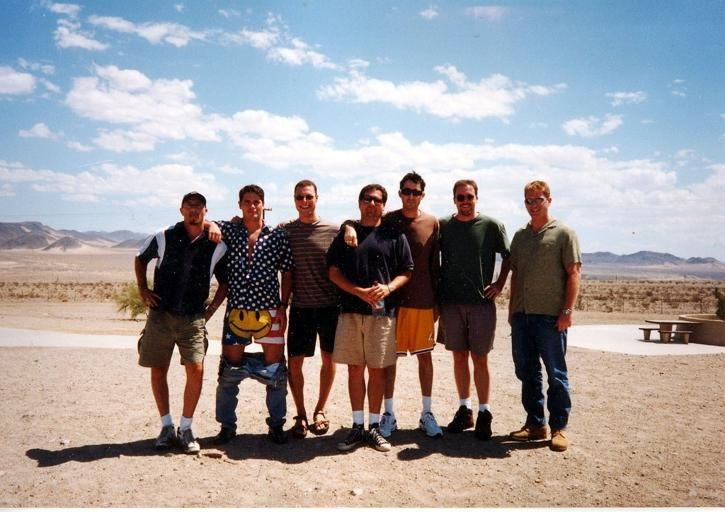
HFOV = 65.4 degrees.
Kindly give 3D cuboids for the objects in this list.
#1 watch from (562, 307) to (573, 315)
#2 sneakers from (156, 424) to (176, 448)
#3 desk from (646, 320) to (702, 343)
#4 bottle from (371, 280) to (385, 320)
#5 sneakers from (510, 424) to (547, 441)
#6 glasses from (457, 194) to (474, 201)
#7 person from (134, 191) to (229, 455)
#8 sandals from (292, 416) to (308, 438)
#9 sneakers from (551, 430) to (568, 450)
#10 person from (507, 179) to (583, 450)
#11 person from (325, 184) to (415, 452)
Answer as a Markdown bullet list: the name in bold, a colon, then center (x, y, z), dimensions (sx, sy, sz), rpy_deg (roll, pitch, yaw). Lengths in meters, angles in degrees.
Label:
- **watch**: center (2.722, 0.728, 7.465), dimensions (0.094, 0.034, 0.095), rpy_deg (7, 15, 33)
- **sneakers**: center (-2.543, 2.323, 7.313), dimensions (0.270, 0.275, 0.202), rpy_deg (-3, 9, -28)
- **desk**: center (8.243, 1.988, 15.017), dimensions (0.812, 0.290, 0.800), rpy_deg (0, 0, -6)
- **bottle**: center (0.221, 0.570, 7.465), dimensions (0.192, 0.482, 0.221), rpy_deg (1, 8, -5)
- **sneakers**: center (2.288, 2.393, 7.825), dimensions (0.533, 0.290, 0.205), rpy_deg (2, -2, 8)
- **glasses**: center (1.439, -0.815, 7.902), dimensions (0.226, 0.075, 0.036), rpy_deg (3, 8, 9)
- **person**: center (-2.371, 0.819, 7.406), dimensions (1.138, 3.276, 0.902), rpy_deg (-1, 9, -17)
- **sandals**: center (-0.864, 2.362, 7.897), dimensions (0.176, 0.128, 0.286), rpy_deg (6, 20, -9)
- **sneakers**: center (2.630, 2.435, 7.500), dimensions (0.245, 0.215, 0.233), rpy_deg (3, 8, 12)
- **person**: center (2.418, 0.770, 7.650), dimensions (0.999, 3.508, 0.703), rpy_deg (6, 9, 27)
- **person**: center (0.078, 0.791, 7.580), dimensions (1.008, 3.447, 0.867), rpy_deg (-5, 11, -39)
